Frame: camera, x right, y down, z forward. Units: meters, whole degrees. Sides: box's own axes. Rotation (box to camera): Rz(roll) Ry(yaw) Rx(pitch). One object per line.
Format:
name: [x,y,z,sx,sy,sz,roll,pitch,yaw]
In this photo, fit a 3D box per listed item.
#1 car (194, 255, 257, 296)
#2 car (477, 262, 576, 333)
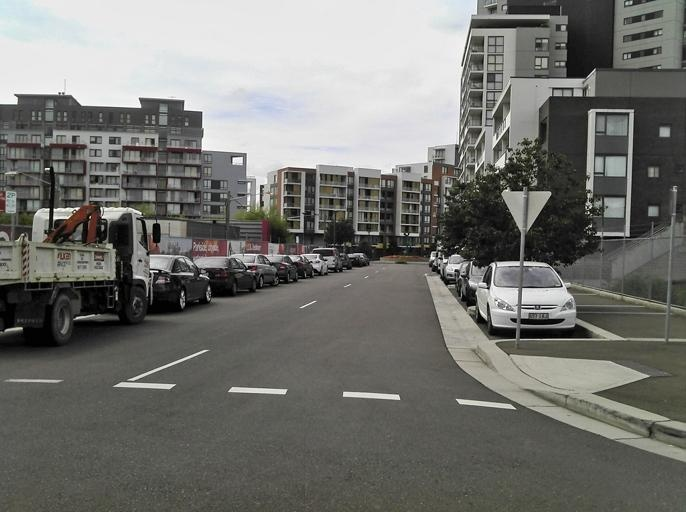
car: [-4.478,0.710,26.885,1.038,0.979,2.729,0,2,12]
car: [4.216,1.003,16.023,1.892,1.585,2.916,-2,2,-3]
